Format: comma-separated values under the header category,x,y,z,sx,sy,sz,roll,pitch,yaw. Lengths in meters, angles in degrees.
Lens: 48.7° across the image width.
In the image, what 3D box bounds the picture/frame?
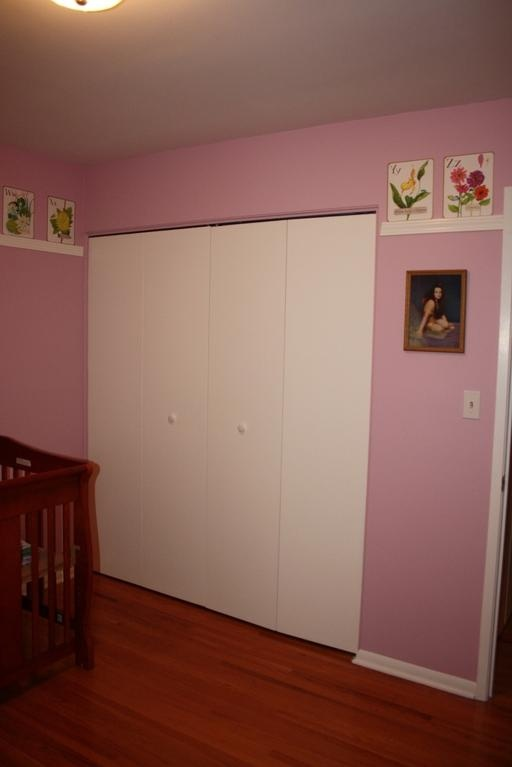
category,x,y,z,sx,sy,sz,roll,pitch,yaw
picture/frame,0.677,-0.274,2.140,0.223,0.359,0.015,3,-22,17

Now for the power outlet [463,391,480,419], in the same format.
category,x,y,z,sx,sy,sz,roll,pitch,yaw
power outlet,0.792,0.079,2.087,0.058,0.066,0.018,2,-1,24

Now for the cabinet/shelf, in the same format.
category,x,y,z,sx,sy,sz,roll,pitch,yaw
cabinet/shelf,-0.077,0.245,2.657,1.642,2.236,0.647,6,7,43
